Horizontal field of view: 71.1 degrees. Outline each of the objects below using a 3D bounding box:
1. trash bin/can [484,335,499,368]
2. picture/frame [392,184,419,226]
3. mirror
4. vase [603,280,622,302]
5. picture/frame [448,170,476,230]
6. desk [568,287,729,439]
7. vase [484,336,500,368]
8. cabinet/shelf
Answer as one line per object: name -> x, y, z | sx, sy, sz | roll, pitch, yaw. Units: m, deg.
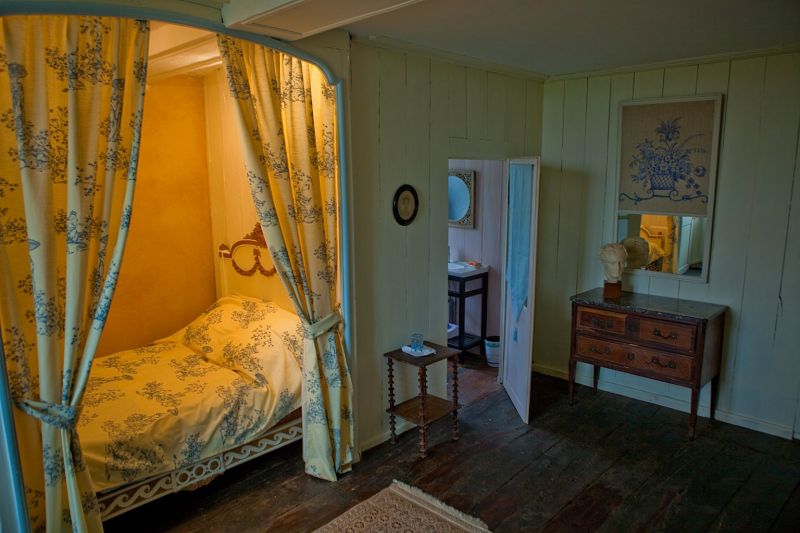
trash bin/can -> 1.011, 0.926, 6.148 | 0.264, 0.297, 0.263 | 3, 10, 6
picture/frame -> 0.036, -0.526, 4.733 | 0.049, 0.302, 0.291 | 15, 28, 40
mirror -> 2.439, -0.739, 5.160 | 0.889, 1.589, 0.362 | 7, 17, 24
vase -> 1.994, 0.236, 5.227 | 0.171, 0.172, 0.171 | 0, 0, -44
picture/frame -> 0.721, -0.773, 6.434 | 0.056, 0.745, 0.733 | -5, 8, -34
desk -> 2.021, 1.020, 5.144 | 1.173, 0.762, 1.066 | 13, 60, 7
vase -> 1.008, 0.918, 6.167 | 0.276, 0.310, 0.276 | 3, 10, 9
cabinet/shelf -> 0.246, 1.062, 4.841 | 0.699, 0.816, 0.516 | -13, 20, -42
